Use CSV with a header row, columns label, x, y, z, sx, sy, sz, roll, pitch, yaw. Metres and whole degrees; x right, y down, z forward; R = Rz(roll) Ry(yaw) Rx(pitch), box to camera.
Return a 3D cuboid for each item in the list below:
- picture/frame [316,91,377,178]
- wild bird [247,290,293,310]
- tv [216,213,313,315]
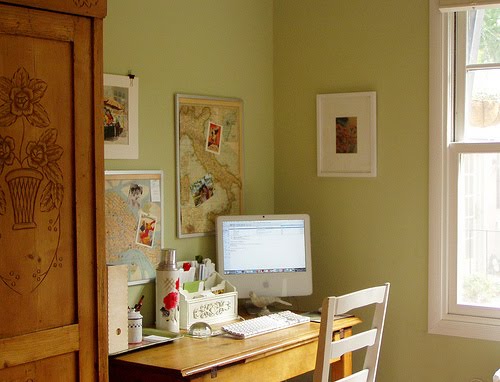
label,x,y,z,sx,sy,sz,roll,pitch,yaw
picture/frame,0.621,-0.360,2.855,0.503,0.738,0.048,-1,1,28
wild bird,0.114,0.646,2.706,0.233,0.137,0.182,3,7,0
tv,0.073,0.421,2.684,0.524,0.551,0.179,-1,-4,-8
